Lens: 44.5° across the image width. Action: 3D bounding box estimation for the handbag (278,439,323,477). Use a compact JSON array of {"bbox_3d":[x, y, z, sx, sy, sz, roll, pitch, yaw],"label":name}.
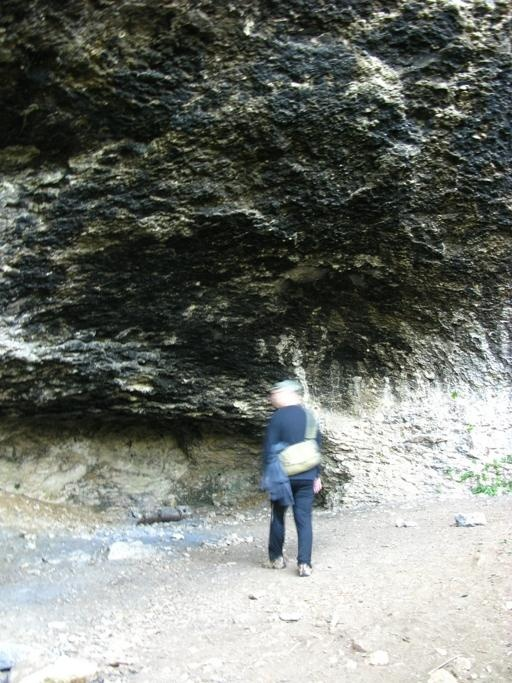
[{"bbox_3d":[0.224,0.578,3.115,0.245,0.154,0.076,-6,-6,-40],"label":"handbag"}]
